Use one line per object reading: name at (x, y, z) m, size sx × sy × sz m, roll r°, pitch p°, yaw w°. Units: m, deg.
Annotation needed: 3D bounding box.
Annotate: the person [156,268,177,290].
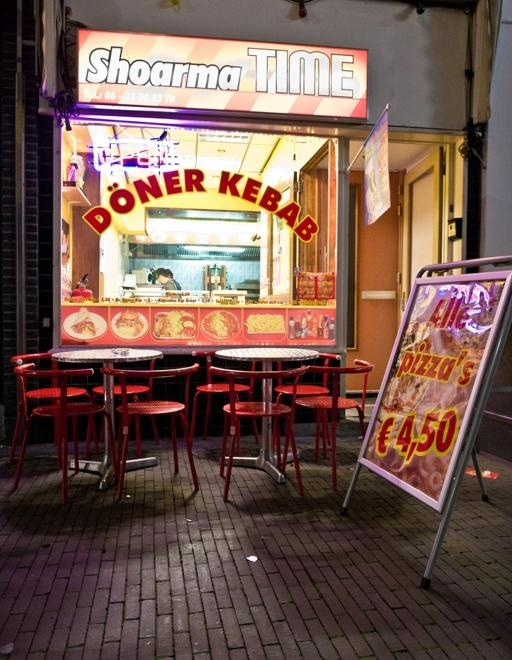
person at (-1.161, -0.659, 7.012) m, size 0.291 × 0.279 × 0.984 m, roll -3°, pitch 7°, yaw -10°
